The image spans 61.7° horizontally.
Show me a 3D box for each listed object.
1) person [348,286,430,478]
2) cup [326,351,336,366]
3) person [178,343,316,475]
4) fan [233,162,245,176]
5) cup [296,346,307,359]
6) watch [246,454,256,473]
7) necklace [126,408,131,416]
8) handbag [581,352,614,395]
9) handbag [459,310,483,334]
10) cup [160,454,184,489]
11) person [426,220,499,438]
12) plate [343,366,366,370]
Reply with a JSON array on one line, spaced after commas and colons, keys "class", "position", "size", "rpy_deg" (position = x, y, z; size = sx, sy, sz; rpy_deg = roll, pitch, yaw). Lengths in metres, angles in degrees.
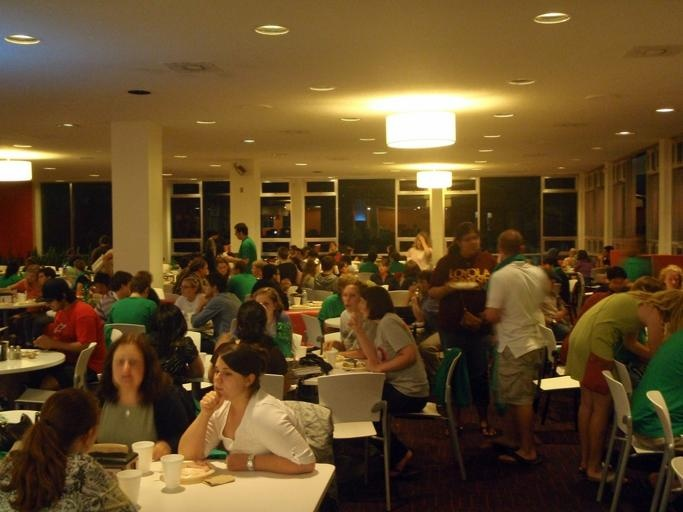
[{"class": "person", "position": [0.352, 1.052, 4.710], "size": [0.592, 1.605, 0.672], "rpy_deg": [-2, 5, -20]}, {"class": "cup", "position": [-0.086, 0.873, 4.880], "size": [0.100, 0.101, 0.098], "rpy_deg": [-1, -2, 0]}, {"class": "person", "position": [-0.507, 0.758, 3.108], "size": [0.682, 0.897, 0.608], "rpy_deg": [-2, -3, -33]}, {"class": "fan", "position": [-2.379, -2.053, 13.337], "size": [0.374, 0.325, 0.129], "rpy_deg": [3, 5, 37]}, {"class": "cup", "position": [-0.377, 0.895, 5.287], "size": [0.093, 0.067, 0.091], "rpy_deg": [-1, -2, 0]}, {"class": "watch", "position": [-0.438, 1.000, 2.752], "size": [0.048, 0.067, 0.069], "rpy_deg": [4, -3, -7]}, {"class": "necklace", "position": [-1.164, 0.853, 3.109], "size": [0.023, 0.029, 0.007], "rpy_deg": [5, -11, 2]}, {"class": "handbag", "position": [1.975, 0.893, 4.381], "size": [0.184, 0.306, 0.251], "rpy_deg": [-15, 26, -24]}, {"class": "handbag", "position": [1.198, 0.600, 5.300], "size": [0.183, 0.131, 0.102], "rpy_deg": [30, 11, 24]}, {"class": "cup", "position": [-0.773, 0.987, 2.609], "size": [0.149, 0.113, 0.143], "rpy_deg": [-1, -9, 0]}, {"class": "person", "position": [1.237, 0.670, 5.550], "size": [0.794, 2.008, 0.699], "rpy_deg": [4, -9, -30]}, {"class": "plate", "position": [0.103, 0.943, 4.782], "size": [0.108, 0.020, 0.065], "rpy_deg": [-3, -3, 19]}]
